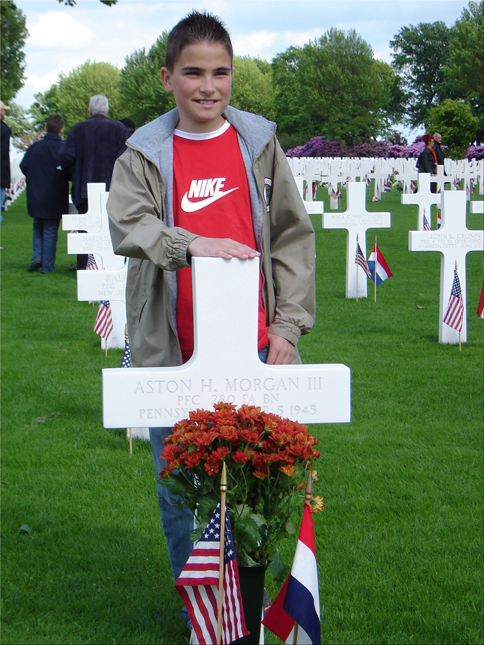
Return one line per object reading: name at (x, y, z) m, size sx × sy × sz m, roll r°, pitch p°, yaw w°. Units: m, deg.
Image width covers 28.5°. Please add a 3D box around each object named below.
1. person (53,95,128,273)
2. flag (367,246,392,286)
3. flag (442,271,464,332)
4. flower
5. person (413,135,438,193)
person at (-1.830, -1.727, 11.470) m, size 0.698 × 2.294 × 0.604 m, roll 4°, pitch -9°, yaw -12°
flag at (1.494, -0.755, 10.640) m, size 0.285 × 0.710 × 0.062 m, roll -1°, pitch -37°, yaw 5°
flag at (1.827, -0.289, 8.170) m, size 0.164 × 0.584 × 0.024 m, roll 5°, pitch -25°, yaw 3°
flower at (-0.007, 0.436, 2.705) m, size 0.382 × 0.606 × 0.511 m, roll 1°, pitch 8°, yaw -8°
person at (4.080, -3.928, 20.899) m, size 0.420 × 0.941 × 1.338 m, roll 2°, pitch 10°, yaw 11°
